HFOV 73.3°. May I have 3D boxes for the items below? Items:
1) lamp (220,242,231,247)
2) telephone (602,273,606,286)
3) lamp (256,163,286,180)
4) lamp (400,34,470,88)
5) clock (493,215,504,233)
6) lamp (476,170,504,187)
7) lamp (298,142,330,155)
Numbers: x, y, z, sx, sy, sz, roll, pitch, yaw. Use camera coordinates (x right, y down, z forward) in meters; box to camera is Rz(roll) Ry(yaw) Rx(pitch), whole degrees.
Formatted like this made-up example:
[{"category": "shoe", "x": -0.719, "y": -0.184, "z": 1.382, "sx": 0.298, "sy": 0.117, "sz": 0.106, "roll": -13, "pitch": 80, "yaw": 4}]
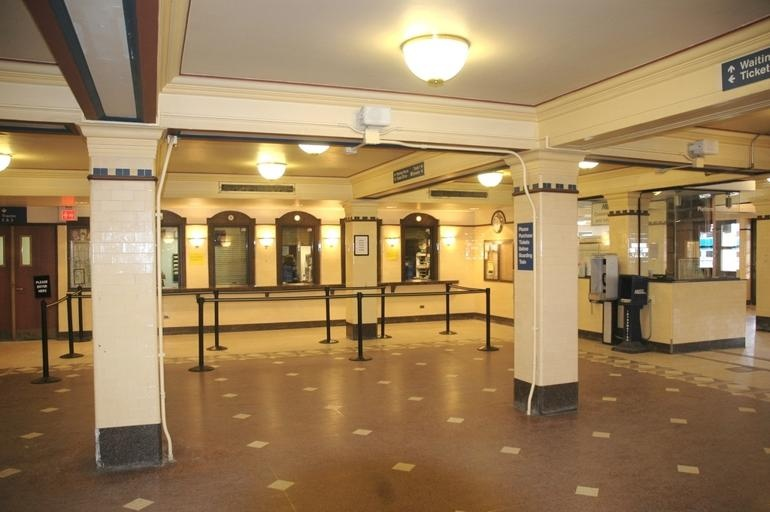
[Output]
[{"category": "lamp", "x": -4.456, "y": -0.345, "z": 14.501, "sx": 0.242, "sy": 0.150, "sz": 0.044, "roll": -2, "pitch": 5, "yaw": -11}, {"category": "telephone", "x": 4.813, "y": 0.502, "z": 11.418, "sx": 0.030, "sy": 0.273, "sz": 0.079, "roll": -6, "pitch": 7, "yaw": -43}, {"category": "lamp", "x": -2.176, "y": -1.649, "z": 9.982, "sx": 0.469, "sy": 0.278, "sz": 0.421, "roll": 0, "pitch": 4, "yaw": -3}, {"category": "lamp", "x": 0.500, "y": -1.849, "z": 5.248, "sx": 0.464, "sy": 0.197, "sz": 0.467, "roll": -2, "pitch": -9, "yaw": 37}, {"category": "clock", "x": 3.304, "y": -0.959, "z": 15.150, "sx": 0.101, "sy": 0.573, "sz": 0.554, "roll": -5, "pitch": 8, "yaw": -23}, {"category": "lamp", "x": 2.014, "y": -1.494, "z": 9.934, "sx": 0.563, "sy": 0.298, "sz": 0.569, "roll": 2, "pitch": 4, "yaw": 42}, {"category": "lamp", "x": -1.101, "y": -1.664, "z": 7.936, "sx": 0.471, "sy": 0.147, "sz": 0.425, "roll": -2, "pitch": 8, "yaw": -16}]
